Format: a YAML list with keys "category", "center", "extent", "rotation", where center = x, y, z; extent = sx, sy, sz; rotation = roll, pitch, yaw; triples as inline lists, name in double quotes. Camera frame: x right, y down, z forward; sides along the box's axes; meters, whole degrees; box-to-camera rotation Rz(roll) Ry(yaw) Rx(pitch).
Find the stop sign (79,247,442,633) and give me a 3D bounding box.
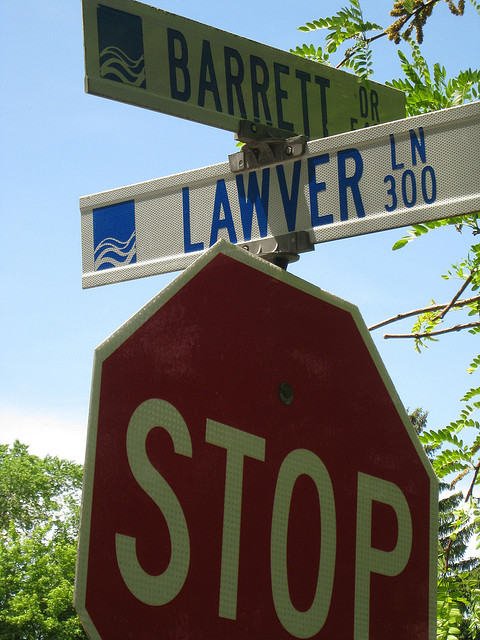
- category: "stop sign"
  center: [0.016, 0.280, 2.906]
  extent: [0.578, 0.703, 0.020]
  rotation: [17, -28, -41]
